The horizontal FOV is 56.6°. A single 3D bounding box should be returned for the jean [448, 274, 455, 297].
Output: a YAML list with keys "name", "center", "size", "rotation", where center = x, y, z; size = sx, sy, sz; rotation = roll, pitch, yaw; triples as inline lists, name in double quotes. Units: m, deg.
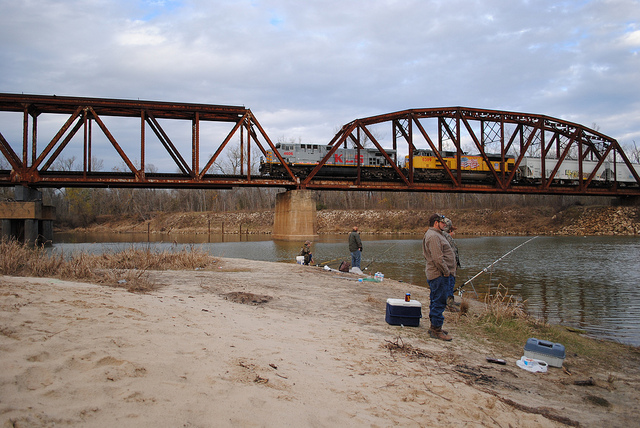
- name: "jean"
  center: [3.692, 1.998, 16.813]
  size: [0.304, 0.313, 1.166]
  rotation: [2, -24, 17]

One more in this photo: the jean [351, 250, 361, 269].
- name: "jean"
  center: [1.431, 1.783, 24.039]
  size: [0.323, 0.687, 0.668]
  rotation: [5, 3, 2]

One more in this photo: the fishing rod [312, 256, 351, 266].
- name: "fishing rod"
  center: [0.529, 2.283, 28.964]
  size: [3.203, 0.071, 0.200]
  rotation: [-6, -34, -25]

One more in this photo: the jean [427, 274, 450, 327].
- name: "jean"
  center: [2.988, 2.200, 15.258]
  size: [0.501, 1.355, 0.292]
  rotation: [5, 4, 10]

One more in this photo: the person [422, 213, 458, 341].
- name: "person"
  center: [3.179, 1.549, 15.566]
  size: [1.081, 3.016, 0.984]
  rotation: [0, 0, -9]

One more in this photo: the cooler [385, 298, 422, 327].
- name: "cooler"
  center: [2.284, 2.705, 16.255]
  size: [0.883, 0.616, 0.908]
  rotation: [8, -2, 9]
